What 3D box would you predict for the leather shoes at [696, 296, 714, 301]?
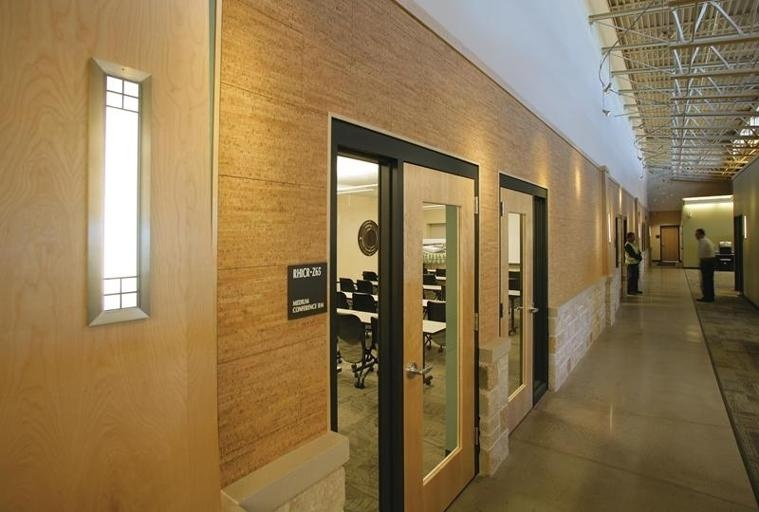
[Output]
[{"bbox_3d":[6.402,0.837,9.845,0.270,0.102,0.277,6,9,41],"label":"leather shoes"}]
